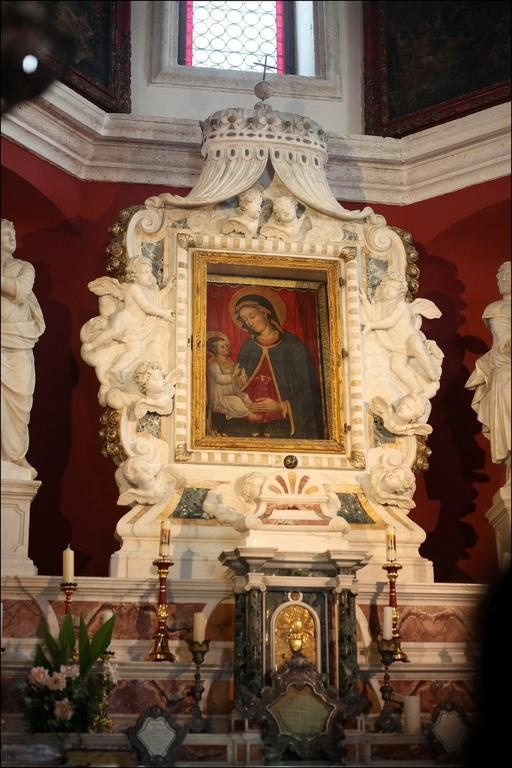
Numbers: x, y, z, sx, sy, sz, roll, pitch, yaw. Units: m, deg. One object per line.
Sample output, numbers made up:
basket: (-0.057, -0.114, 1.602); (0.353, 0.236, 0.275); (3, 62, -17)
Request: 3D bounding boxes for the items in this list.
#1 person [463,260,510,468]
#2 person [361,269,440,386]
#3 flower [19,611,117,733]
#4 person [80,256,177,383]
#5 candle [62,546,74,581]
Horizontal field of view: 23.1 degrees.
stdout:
person: (1.563, -0.134, 7.970); (0.201, 1.316, 0.456); (7, -15, -26)
person: (0.984, -0.345, 8.336); (0.487, 0.810, 0.174); (-5, -14, 22)
flower: (-0.941, 1.432, 6.255); (0.460, 0.569, 0.686); (1, -13, -5)
person: (-0.825, -0.408, 7.997); (0.593, 0.879, 0.213); (2, -13, -7)
candle: (-0.994, 0.954, 6.581); (0.047, 0.176, 0.060); (4, -14, -18)
